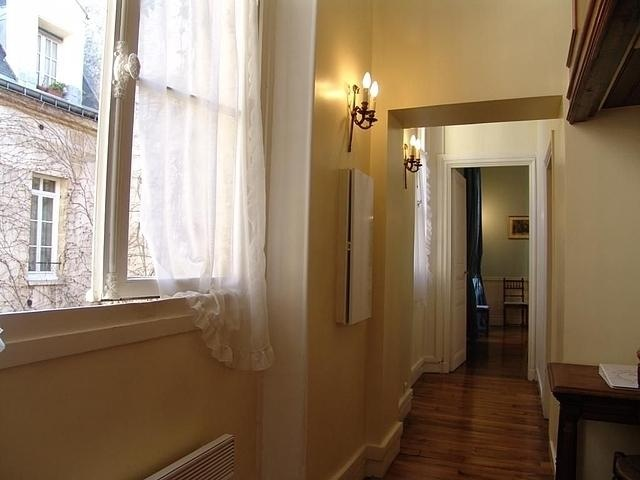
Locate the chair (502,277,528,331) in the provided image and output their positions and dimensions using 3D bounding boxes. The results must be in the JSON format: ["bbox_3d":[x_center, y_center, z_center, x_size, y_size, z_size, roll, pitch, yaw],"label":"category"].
[{"bbox_3d":[3.740,1.228,8.513,0.446,0.752,0.977,-1,-1,24],"label":"chair"}]

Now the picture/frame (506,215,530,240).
[{"bbox_3d":[3.905,-0.241,8.704,0.420,0.494,0.035,1,-8,15],"label":"picture/frame"}]

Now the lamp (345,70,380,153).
[{"bbox_3d":[0.254,-0.781,2.689,0.144,0.431,0.188,3,-6,26],"label":"lamp"}]

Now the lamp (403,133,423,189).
[{"bbox_3d":[0.795,-0.672,3.876,0.110,0.442,0.164,0,-8,32],"label":"lamp"}]
